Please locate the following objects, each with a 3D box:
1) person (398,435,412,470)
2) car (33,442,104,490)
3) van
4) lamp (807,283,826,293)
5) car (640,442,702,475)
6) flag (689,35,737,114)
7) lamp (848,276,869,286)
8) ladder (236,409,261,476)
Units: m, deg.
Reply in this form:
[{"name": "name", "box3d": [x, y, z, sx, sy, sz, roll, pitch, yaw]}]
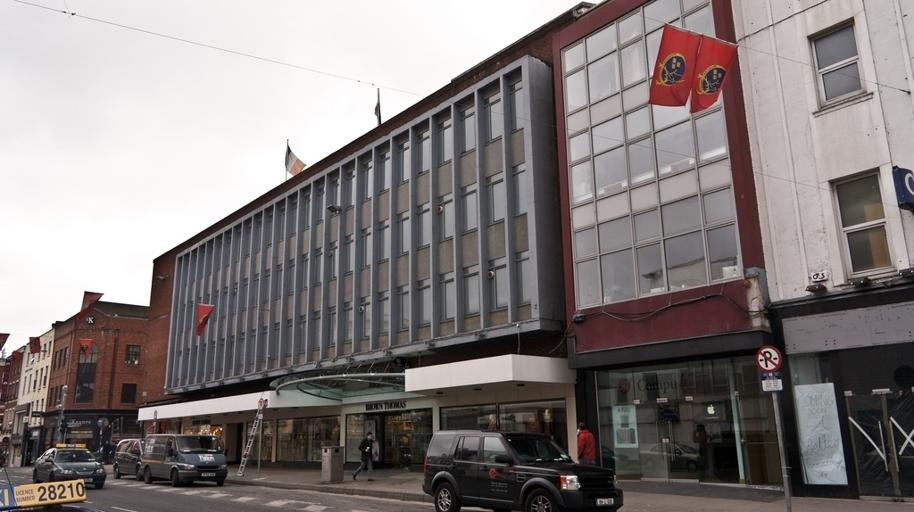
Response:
[{"name": "person", "box3d": [-3.080, 11.434, 41.655, 0.323, 1.901, 1.109, 13, -27, -30]}, {"name": "car", "box3d": [-21.509, 11.484, 38.749, 2.493, 1.744, 5.386, 10, -20, -37]}, {"name": "van", "box3d": [-15.348, 11.176, 39.326, 5.300, 2.935, 1.892, -15, -27, 29]}, {"name": "lamp", "box3d": [15.187, 1.274, 29.824, 0.741, 0.392, 0.249, -14, -26, 26]}, {"name": "car", "box3d": [10.093, 9.296, 32.923, 2.257, 1.027, 1.242, -10, -14, 29]}, {"name": "flag", "box3d": [10.479, -7.582, 29.323, 1.301, 2.598, 1.965, 12, -26, -27]}, {"name": "lamp", "box3d": [16.680, 1.008, 29.121, 0.474, 0.367, 0.233, -4, -66, 14]}, {"name": "ladder", "box3d": [-14.531, 12.924, 49.264, 0.806, 1.097, 7.406, 17, -62, 2]}]
